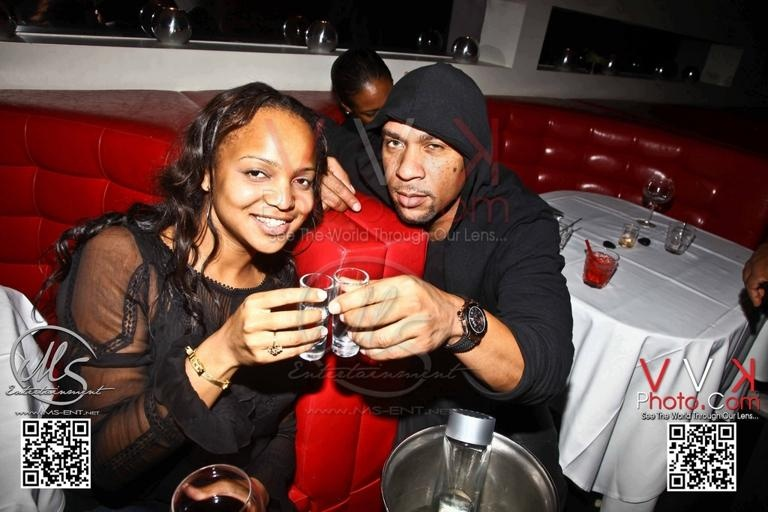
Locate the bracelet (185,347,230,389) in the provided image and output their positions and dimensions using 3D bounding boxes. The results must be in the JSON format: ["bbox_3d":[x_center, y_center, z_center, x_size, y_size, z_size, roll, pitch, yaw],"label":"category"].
[{"bbox_3d":[-0.630,0.389,1.753,0.147,0.134,0.046,8,38,38],"label":"bracelet"}]

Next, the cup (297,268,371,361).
[{"bbox_3d":[-0.178,0.227,1.783,0.226,0.370,0.254,3,13,0],"label":"cup"}]
